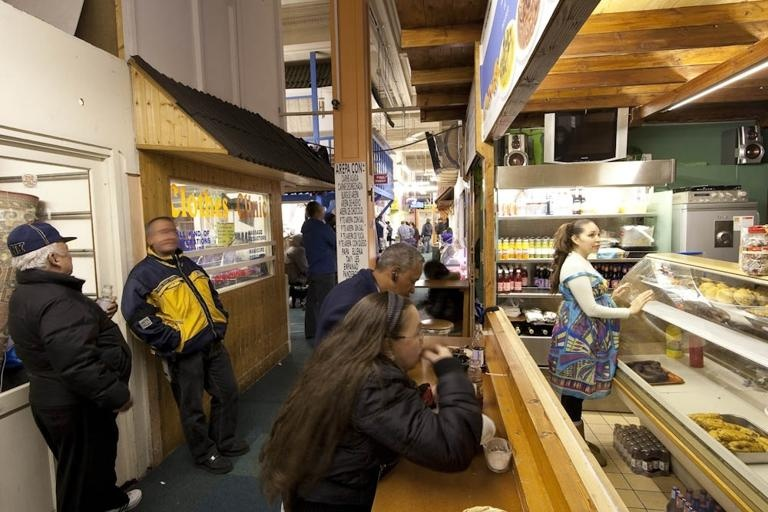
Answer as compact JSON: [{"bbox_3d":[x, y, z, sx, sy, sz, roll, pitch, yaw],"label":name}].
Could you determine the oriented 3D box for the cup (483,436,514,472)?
[{"bbox_3d":[0.723,1.243,3.123,0.179,0.144,0.169,-4,3,0],"label":"cup"}]

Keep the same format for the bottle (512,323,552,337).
[{"bbox_3d":[1.849,0.909,6.110,0.423,0.098,0.419,0,0,0],"label":"bottle"}]

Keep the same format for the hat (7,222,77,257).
[{"bbox_3d":[-2.694,-0.134,3.917,0.232,0.192,0.385,3,17,42],"label":"hat"}]

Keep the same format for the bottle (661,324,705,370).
[{"bbox_3d":[2.313,0.711,3.877,0.256,0.217,0.249,-5,10,-14],"label":"bottle"}]

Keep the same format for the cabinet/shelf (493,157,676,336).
[{"bbox_3d":[2.603,-0.010,6.253,1.921,2.095,0.635,-1,-3,20],"label":"cabinet/shelf"}]

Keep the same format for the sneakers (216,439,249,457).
[{"bbox_3d":[-1.480,1.903,4.933,0.253,0.096,0.123,-2,2,-5],"label":"sneakers"}]

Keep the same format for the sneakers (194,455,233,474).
[{"bbox_3d":[-1.626,1.961,4.731,0.303,0.105,0.159,3,5,13],"label":"sneakers"}]

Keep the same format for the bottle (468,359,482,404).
[{"bbox_3d":[0.692,0.953,3.712,0.136,0.218,0.062,4,-3,36],"label":"bottle"}]

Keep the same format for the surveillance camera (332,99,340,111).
[{"bbox_3d":[-0.573,-1.762,5.778,0.081,0.136,0.123,2,8,34],"label":"surveillance camera"}]

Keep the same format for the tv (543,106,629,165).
[{"bbox_3d":[2.578,-1.523,6.326,1.014,0.676,0.405,-1,7,17],"label":"tv"}]

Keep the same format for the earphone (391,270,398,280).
[{"bbox_3d":[0.083,0.150,3.775,0.048,0.076,0.012,-3,7,2],"label":"earphone"}]

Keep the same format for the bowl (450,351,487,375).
[{"bbox_3d":[0.636,0.798,3.698,0.303,0.124,0.389,0,1,5],"label":"bowl"}]
